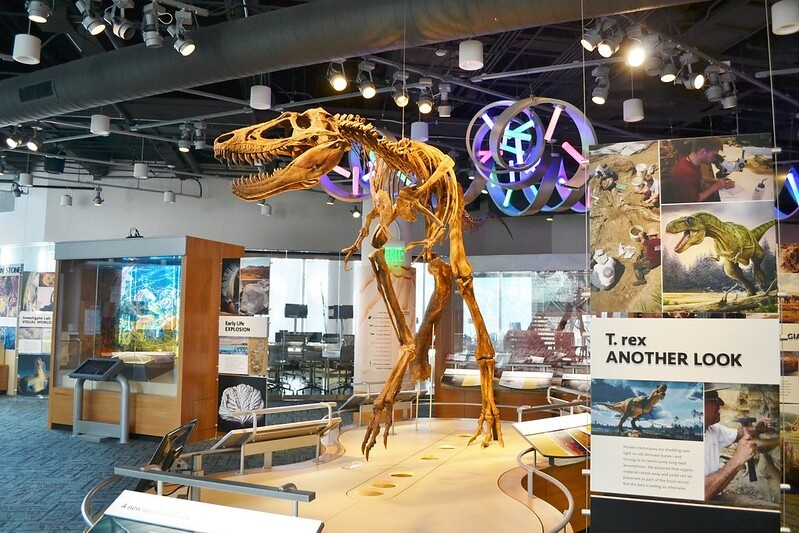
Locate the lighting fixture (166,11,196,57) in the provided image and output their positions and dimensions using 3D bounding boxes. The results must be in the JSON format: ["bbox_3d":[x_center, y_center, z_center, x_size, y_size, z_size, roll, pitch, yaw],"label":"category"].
[{"bbox_3d":[-2.446,-2.613,6.645,0.295,0.521,0.488,2,2,-19],"label":"lighting fixture"}]

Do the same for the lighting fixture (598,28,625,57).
[{"bbox_3d":[2.409,-2.580,6.757,0.202,0.352,0.381,4,3,30],"label":"lighting fixture"}]

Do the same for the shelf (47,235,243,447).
[{"bbox_3d":[-3.789,1.160,8.969,3.218,3.519,2.011,-2,-5,24],"label":"shelf"}]

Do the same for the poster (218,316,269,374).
[{"bbox_3d":[-2.342,1.182,8.915,0.952,1.009,0.141,0,1,14],"label":"poster"}]

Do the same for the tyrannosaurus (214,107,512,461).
[{"bbox_3d":[-0.302,0.173,5.708,2.490,3.324,1.210,2,2,-21],"label":"tyrannosaurus"}]

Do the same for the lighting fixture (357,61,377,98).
[{"bbox_3d":[-0.442,-2.451,7.784,0.237,0.456,0.614,2,2,-5],"label":"lighting fixture"}]
